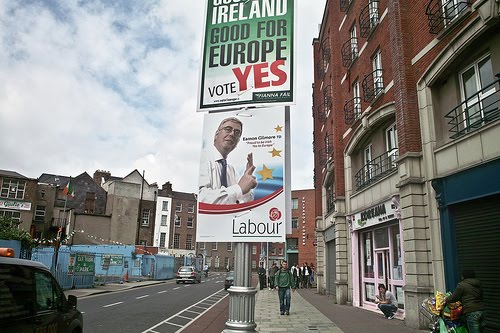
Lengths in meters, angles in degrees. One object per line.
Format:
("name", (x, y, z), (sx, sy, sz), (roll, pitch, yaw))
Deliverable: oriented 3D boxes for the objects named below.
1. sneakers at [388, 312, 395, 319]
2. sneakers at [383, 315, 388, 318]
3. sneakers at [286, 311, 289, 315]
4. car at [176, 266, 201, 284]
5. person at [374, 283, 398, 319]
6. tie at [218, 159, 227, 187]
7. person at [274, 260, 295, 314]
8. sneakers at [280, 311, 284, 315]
("sneakers", (5.960, 6.248, 14.781), (0.228, 0.214, 0.505), (-7, -15, 28))
("sneakers", (5.774, 6.390, 15.012), (0.097, 0.170, 0.168), (10, -16, -35))
("sneakers", (1.638, 6.455, 15.500), (0.171, 0.132, 0.116), (-1, -13, 16))
("car", (-6.281, 10.866, 35.187), (1.904, 1.621, 2.623), (1, -13, -4))
("person", (5.838, 5.801, 15.208), (0.769, 1.288, 1.111), (3, -13, -12))
("tie", (-0.660, 0.152, 8.478), (0.190, 0.662, 0.109), (-3, -13, 17))
("person", (1.561, 5.418, 15.741), (0.810, 2.227, 0.847), (-6, -14, 28))
("sneakers", (1.417, 6.427, 15.443), (0.125, 0.146, 0.359), (0, -14, 7))
